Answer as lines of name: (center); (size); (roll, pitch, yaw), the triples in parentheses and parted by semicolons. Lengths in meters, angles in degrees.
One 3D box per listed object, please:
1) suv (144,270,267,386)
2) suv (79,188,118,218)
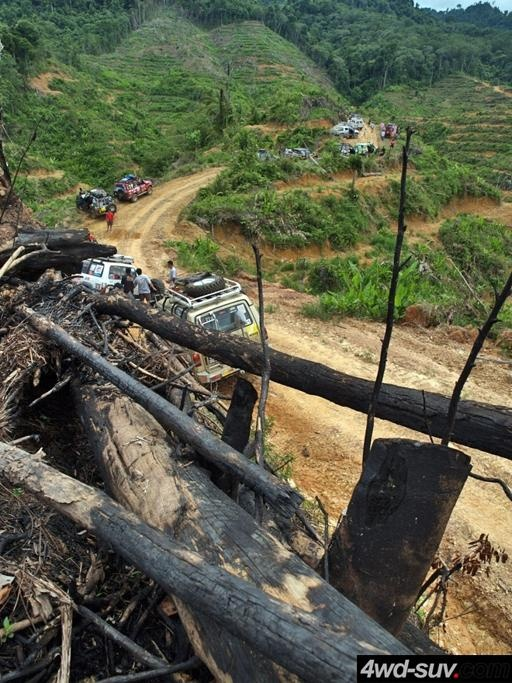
suv: (-0.975, -0.444, 9.366); (1.537, 1.687, 2.822); (-19, 26, -20)
suv: (-8.240, -7.227, 25.346); (1.273, 1.180, 2.594); (-29, 47, -30)
